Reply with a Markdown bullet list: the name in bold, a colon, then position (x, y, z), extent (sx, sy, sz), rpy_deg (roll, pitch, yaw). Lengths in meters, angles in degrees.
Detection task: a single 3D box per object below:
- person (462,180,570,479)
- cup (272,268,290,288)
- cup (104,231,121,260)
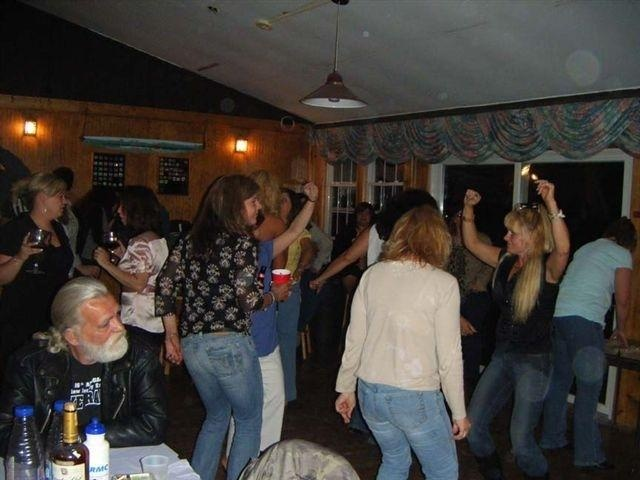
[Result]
- **person**: position (1.292, 0.654, 3.537), extent (0.619, 2.073, 0.328), rpy_deg (-1, 5, 15)
- **cup**: position (-0.247, 0.239, 3.461), extent (0.095, 0.079, 0.113), rpy_deg (0, -6, -7)
- **cup**: position (-1.538, 0.040, 3.945), extent (0.109, 0.195, 0.194), rpy_deg (-4, 4, -19)
